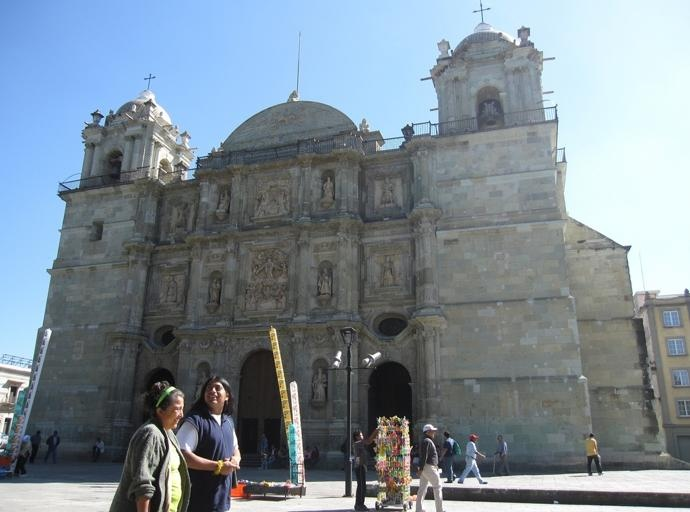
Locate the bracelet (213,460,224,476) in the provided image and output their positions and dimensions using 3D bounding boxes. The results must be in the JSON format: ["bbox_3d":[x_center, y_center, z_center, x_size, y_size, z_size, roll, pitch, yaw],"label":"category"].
[{"bbox_3d":[-1.770,2.994,7.568,0.120,0.165,0.067,12,-2,-28],"label":"bracelet"}]

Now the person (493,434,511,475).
[{"bbox_3d":[6.591,8.386,22.774,0.639,1.577,2.328,-6,-14,14],"label":"person"}]

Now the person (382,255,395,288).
[{"bbox_3d":[2.244,0.784,27.902,0.689,1.658,0.297,-5,-14,9],"label":"person"}]

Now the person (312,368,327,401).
[{"bbox_3d":[-1.230,6.356,26.441,0.716,1.564,0.411,-1,-14,-6],"label":"person"}]

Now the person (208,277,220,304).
[{"bbox_3d":[-7.248,1.934,29.882,0.667,1.620,0.359,0,-14,-8],"label":"person"}]

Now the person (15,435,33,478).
[{"bbox_3d":[-12.708,7.904,21.250,0.429,1.337,1.955,6,-16,-29],"label":"person"}]

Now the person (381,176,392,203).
[{"bbox_3d":[2.297,-3.571,29.363,0.680,1.577,0.179,-4,-14,6],"label":"person"}]

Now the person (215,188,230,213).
[{"bbox_3d":[-7.120,-3.314,31.466,0.733,1.753,0.651,2,-15,-18],"label":"person"}]

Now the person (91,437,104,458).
[{"bbox_3d":[-12.915,10.204,28.242,0.540,1.157,0.758,4,-15,-24],"label":"person"}]

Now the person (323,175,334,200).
[{"bbox_3d":[-0.898,-3.797,29.774,0.606,1.649,0.561,-7,-14,16],"label":"person"}]
